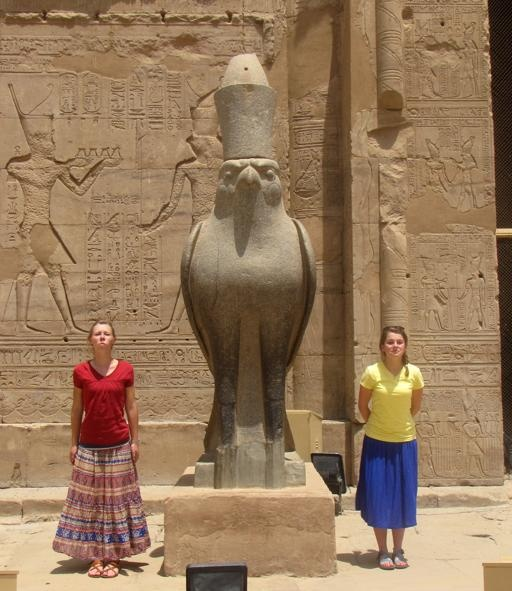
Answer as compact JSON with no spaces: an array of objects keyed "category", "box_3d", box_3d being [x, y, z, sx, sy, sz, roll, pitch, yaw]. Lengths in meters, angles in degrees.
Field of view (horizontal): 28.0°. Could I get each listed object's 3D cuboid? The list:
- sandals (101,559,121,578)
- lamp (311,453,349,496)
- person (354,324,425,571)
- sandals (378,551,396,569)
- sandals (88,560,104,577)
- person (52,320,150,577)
[{"category":"sandals","box_3d":[-0.946,1.790,6.704,0.111,0.077,0.160,0,5,-7]},{"category":"lamp","box_3d":[0.642,1.496,8.554,0.258,0.356,0.059,-7,-13,-28]},{"category":"person","box_3d":[0.893,1.014,6.882,0.428,1.599,0.338,1,5,9]},{"category":"sandals","box_3d":[0.876,1.767,6.836,0.105,0.095,0.126,1,5,4]},{"category":"sandals","box_3d":[-1.040,1.783,6.689,0.101,0.089,0.107,0,5,-6]},{"category":"person","box_3d":[-1.012,1.003,6.737,0.620,1.639,0.330,0,5,-6]}]
